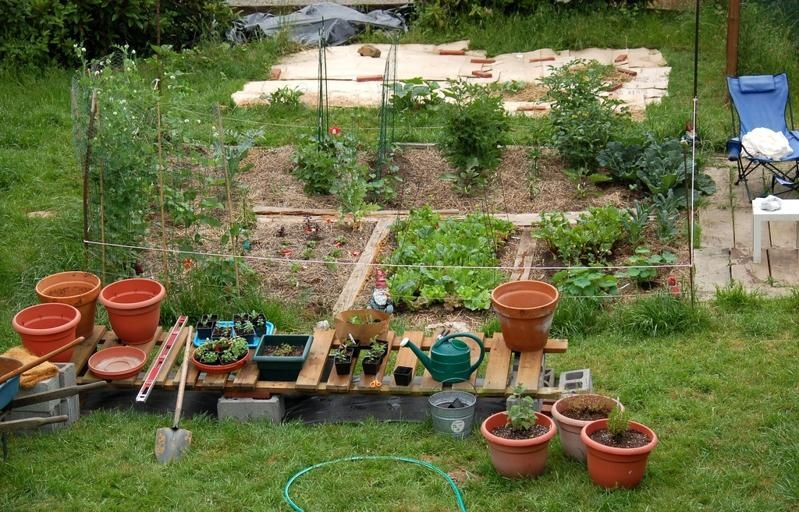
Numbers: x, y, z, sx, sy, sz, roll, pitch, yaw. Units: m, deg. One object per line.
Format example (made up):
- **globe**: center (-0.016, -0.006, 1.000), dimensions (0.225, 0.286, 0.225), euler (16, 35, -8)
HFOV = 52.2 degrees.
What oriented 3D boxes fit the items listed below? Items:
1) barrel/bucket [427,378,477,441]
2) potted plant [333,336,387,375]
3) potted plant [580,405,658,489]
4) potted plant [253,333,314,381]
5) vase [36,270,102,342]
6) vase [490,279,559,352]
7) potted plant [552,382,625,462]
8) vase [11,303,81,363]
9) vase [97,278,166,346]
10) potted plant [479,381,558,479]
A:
- **barrel/bucket**: center (0.493, 1.469, 7.570), dimensions (0.438, 0.349, 0.425), euler (-4, 15, 1)
- **potted plant**: center (-0.386, 0.954, 7.826), dimensions (0.540, 0.224, 0.397), euler (-2, 22, -1)
- **potted plant**: center (1.872, 1.618, 7.017), dimensions (0.593, 0.639, 0.648), euler (-6, 10, -6)
- **potted plant**: center (-1.114, 0.974, 7.826), dimensions (0.493, 0.312, 0.375), euler (1, 23, 7)
- **vase**: center (-3.256, 0.466, 8.128), dimensions (0.466, 0.421, 0.456), euler (26, 21, 36)
- **vase**: center (1.209, 0.603, 7.922), dimensions (0.680, 0.520, 0.668), euler (-17, 24, -33)
- **potted plant**: center (1.625, 1.487, 7.156), dimensions (0.585, 0.402, 0.574), euler (-10, 15, -24)
- **vase**: center (-3.340, 0.677, 7.801), dimensions (0.577, 0.436, 0.578), euler (-2, 19, -6)
- **vase**: center (-2.645, 0.603, 8.157), dimensions (0.637, 0.481, 0.654), euler (-2, 9, 8)
- **potted plant**: center (1.043, 1.533, 7.283), dimensions (0.630, 0.633, 0.670), euler (-1, 12, 1)
